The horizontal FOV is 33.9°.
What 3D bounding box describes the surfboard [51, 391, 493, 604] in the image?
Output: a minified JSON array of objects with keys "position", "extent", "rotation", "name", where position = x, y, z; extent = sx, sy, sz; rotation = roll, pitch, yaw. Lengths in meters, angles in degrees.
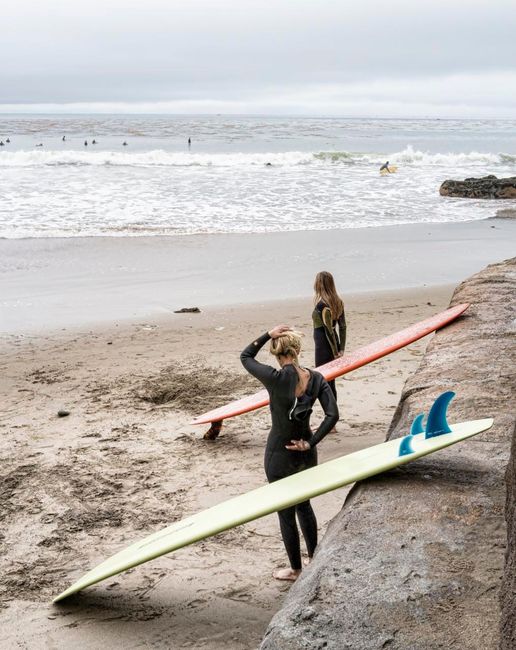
[{"position":[0.048,0.996,4.755],"extent":[2.179,0.239,0.456],"rotation":[-20,2,7],"name":"surfboard"}]
